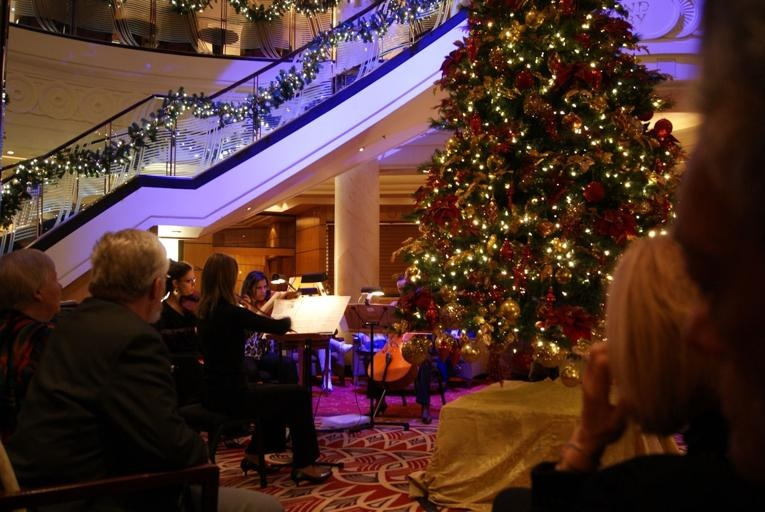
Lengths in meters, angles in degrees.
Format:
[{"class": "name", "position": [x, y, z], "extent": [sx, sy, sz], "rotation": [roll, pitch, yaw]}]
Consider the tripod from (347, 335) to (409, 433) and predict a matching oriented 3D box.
[{"class": "tripod", "position": [-0.018, 1.252, 6.662], "extent": [0.445, 1.117, 0.184], "rotation": [-12, -50, 24]}]

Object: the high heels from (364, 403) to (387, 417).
[{"class": "high heels", "position": [-0.040, 1.516, 6.693], "extent": [0.143, 0.086, 0.265], "rotation": [0, -1, 2]}]

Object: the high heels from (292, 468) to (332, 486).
[{"class": "high heels", "position": [-0.457, 1.421, 4.454], "extent": [0.228, 0.102, 0.120], "rotation": [-8, 0, -12]}]
